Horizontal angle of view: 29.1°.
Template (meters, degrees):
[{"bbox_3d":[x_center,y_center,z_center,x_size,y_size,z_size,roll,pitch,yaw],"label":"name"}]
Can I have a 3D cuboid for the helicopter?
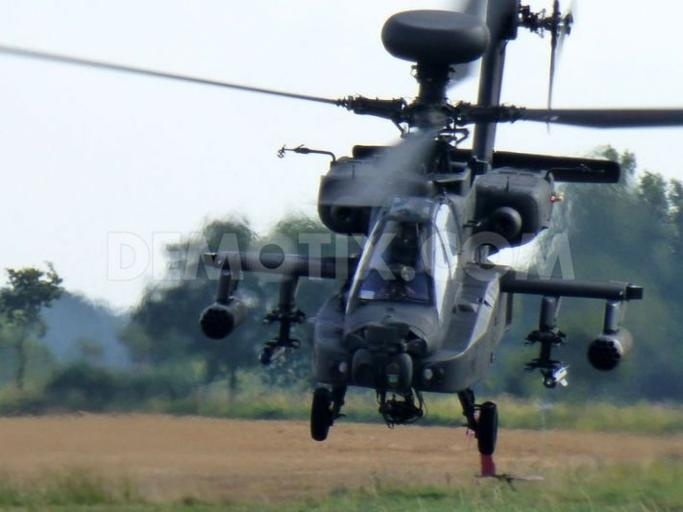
[{"bbox_3d":[1.915,-0.643,24.694,8.072,4.512,9.580,2,8,9],"label":"helicopter"}]
